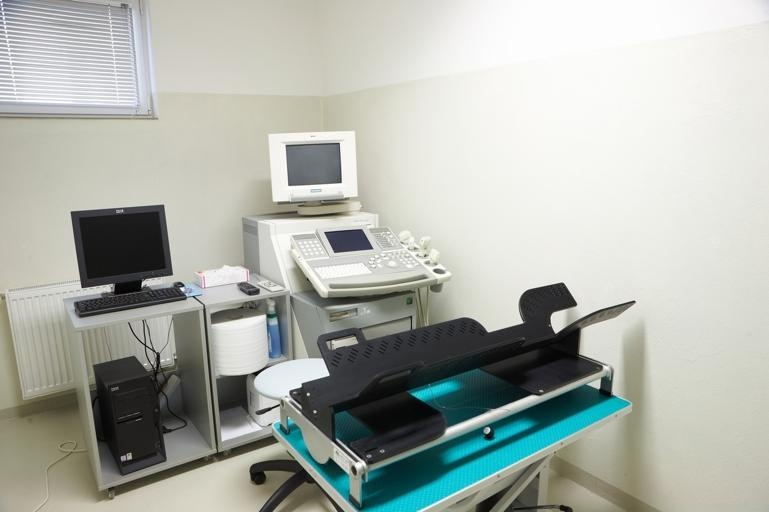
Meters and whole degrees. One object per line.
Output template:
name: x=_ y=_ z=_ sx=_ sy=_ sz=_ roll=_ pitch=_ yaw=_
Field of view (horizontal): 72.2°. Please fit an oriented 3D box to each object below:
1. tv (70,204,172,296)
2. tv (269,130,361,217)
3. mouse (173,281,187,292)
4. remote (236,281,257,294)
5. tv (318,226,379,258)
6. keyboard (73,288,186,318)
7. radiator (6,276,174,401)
tv: x=-1.605 y=-0.031 z=3.203 sx=0.576 sy=0.559 sz=0.257 roll=-7 pitch=8 yaw=-30
tv: x=-0.527 y=-0.621 z=3.767 sx=0.621 sy=0.587 sz=0.315 roll=-7 pitch=25 yaw=-20
mouse: x=-1.306 y=0.197 z=3.358 sx=0.058 sy=0.057 sz=0.059 roll=2 pitch=14 yaw=-27
remote: x=-0.865 y=0.204 z=3.346 sx=0.068 sy=0.029 sz=0.121 roll=-11 pitch=24 yaw=-33
tv: x=-0.242 y=-0.101 z=3.479 sx=0.336 sy=0.170 sz=0.182 roll=-8 pitch=9 yaw=-12
keyboard: x=-1.507 y=0.264 z=3.144 sx=0.597 sy=0.080 sz=0.262 roll=-10 pitch=9 yaw=-27
radiator: x=-1.950 y=0.527 z=3.391 sx=0.874 sy=0.645 sz=0.096 roll=-7 pitch=11 yaw=-31
